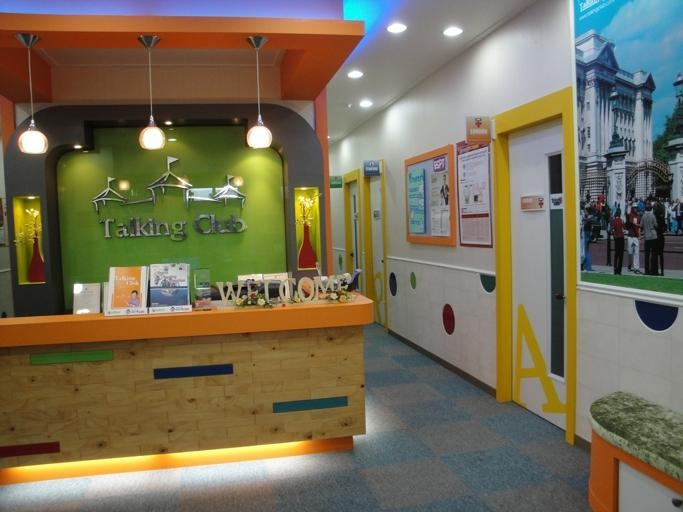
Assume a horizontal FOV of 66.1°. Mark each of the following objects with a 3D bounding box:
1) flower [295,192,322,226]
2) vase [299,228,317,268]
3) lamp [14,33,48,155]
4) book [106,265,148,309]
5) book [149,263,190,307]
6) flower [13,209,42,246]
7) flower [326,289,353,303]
[{"bbox_3d":[-0.439,-0.630,6.364,0.349,0.514,0.276,-3,23,-11],"label":"flower"},{"bbox_3d":[-0.398,-0.117,6.226,0.149,0.535,0.229,6,12,43],"label":"vase"},{"bbox_3d":[-3.039,-1.529,5.079,0.239,1.032,1.444,-7,11,-31],"label":"lamp"},{"bbox_3d":[-1.827,0.273,4.476,0.322,0.416,0.044,-1,-11,-6],"label":"book"},{"bbox_3d":[-1.490,0.256,4.522,0.351,0.446,0.048,0,-2,-7],"label":"book"},{"bbox_3d":[-3.521,-0.365,5.869,0.265,0.470,0.170,-6,10,-25],"label":"flower"},{"bbox_3d":[-0.024,0.352,4.756,0.253,0.110,0.131,-4,10,-10],"label":"flower"}]
